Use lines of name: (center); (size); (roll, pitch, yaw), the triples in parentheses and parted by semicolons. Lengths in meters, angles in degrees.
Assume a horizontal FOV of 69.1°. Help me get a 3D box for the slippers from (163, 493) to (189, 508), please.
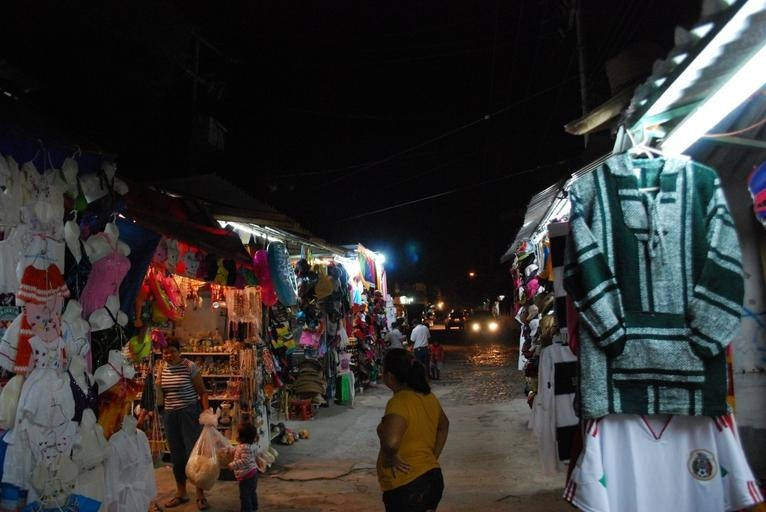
slippers: (-2.533, 2.961, 6.784); (0.276, 0.119, 0.272); (-1, -5, -12)

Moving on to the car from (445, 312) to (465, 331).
car: (8.181, 7.274, 63.275); (1.871, 1.613, 4.032); (-1, 0, 2)

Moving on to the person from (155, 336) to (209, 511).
person: (-2.541, 2.045, 7.072); (0.562, 1.992, 0.600); (0, -5, -22)

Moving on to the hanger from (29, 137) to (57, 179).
hanger: (-2.412, -0.706, 3.939); (0.167, 0.177, 0.183); (-17, -22, 41)
